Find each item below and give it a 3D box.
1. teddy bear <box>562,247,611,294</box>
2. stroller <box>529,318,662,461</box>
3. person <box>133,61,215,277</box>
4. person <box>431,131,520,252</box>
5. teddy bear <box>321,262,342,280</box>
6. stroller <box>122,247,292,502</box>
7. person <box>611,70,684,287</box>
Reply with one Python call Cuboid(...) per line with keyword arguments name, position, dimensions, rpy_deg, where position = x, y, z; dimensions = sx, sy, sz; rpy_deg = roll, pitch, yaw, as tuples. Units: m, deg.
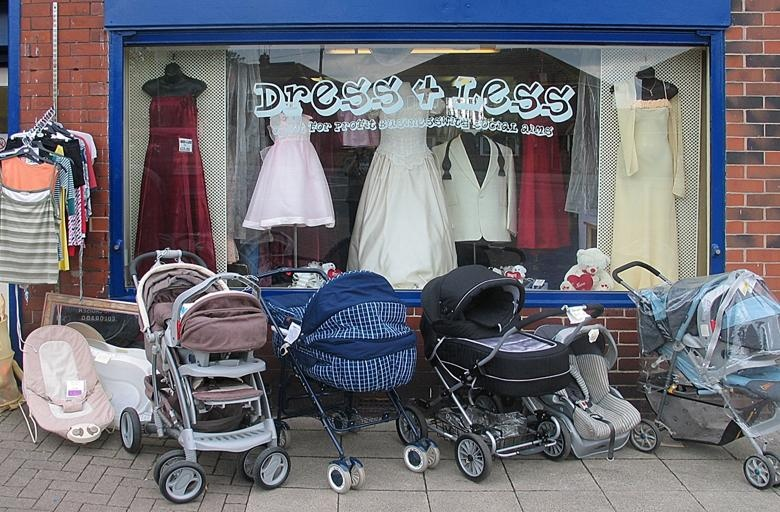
Cuboid(name="teddy bear", position=(1.852, 0.147, 6.617), dimensions=(0.445, 0.466, 0.364), rpy_deg=(15, 10, 7))
Cuboid(name="stroller", position=(1.669, 1.100, 5.956), dimensions=(0.938, 1.261, 1.063), rpy_deg=(0, -2, -33))
Cuboid(name="person", position=(-2.062, -0.910, 6.407), dimensions=(0.712, 1.786, 0.280), rpy_deg=(-3, 10, -6))
Cuboid(name="person", position=(0.809, -0.660, 6.517), dimensions=(1.062, 1.340, 0.677), rpy_deg=(-2, 2, -12))
Cuboid(name="teddy bear", position=(-0.545, 0.122, 6.427), dimensions=(0.156, 0.076, 0.218), rpy_deg=(-19, -25, -15))
Cuboid(name="stroller", position=(-1.443, 0.858, 5.261), dimensions=(1.107, 1.718, 1.156), rpy_deg=(-7, 11, -26))
Cuboid(name="person", position=(2.416, -0.777, 6.434), dimensions=(0.678, 1.987, 0.338), rpy_deg=(2, 11, 19))
